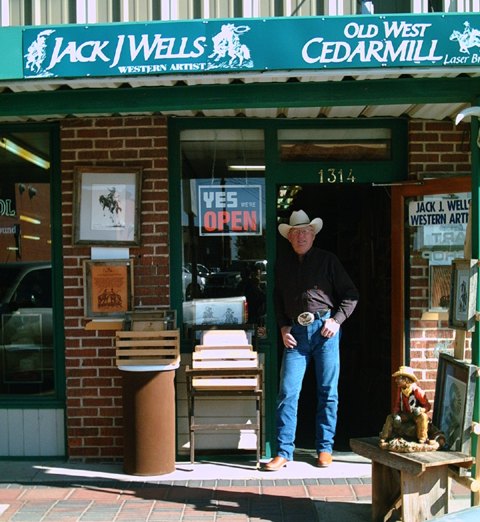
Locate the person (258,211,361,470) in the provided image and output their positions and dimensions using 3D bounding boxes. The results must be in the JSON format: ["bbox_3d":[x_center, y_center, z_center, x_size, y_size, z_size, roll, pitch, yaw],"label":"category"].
[{"bbox_3d":[0.546,0.624,6.635,0.751,2.031,0.563,-1,5,-2],"label":"person"}]

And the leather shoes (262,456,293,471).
[{"bbox_3d":[0.280,1.586,6.535,0.233,0.128,0.252,-1,6,1],"label":"leather shoes"}]

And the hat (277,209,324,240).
[{"bbox_3d":[0.499,-0.309,6.810,0.239,0.120,0.282,-6,-19,6],"label":"hat"}]

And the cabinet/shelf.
[{"bbox_3d":[-0.112,1.063,6.936,0.775,1.390,0.945,0,-11,0],"label":"cabinet/shelf"}]

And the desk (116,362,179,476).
[{"bbox_3d":[-0.732,1.224,6.527,0.485,0.842,0.504,-1,1,-2],"label":"desk"}]

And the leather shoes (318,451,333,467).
[{"bbox_3d":[0.679,1.585,6.605,0.117,0.131,0.166,0,5,5],"label":"leather shoes"}]
